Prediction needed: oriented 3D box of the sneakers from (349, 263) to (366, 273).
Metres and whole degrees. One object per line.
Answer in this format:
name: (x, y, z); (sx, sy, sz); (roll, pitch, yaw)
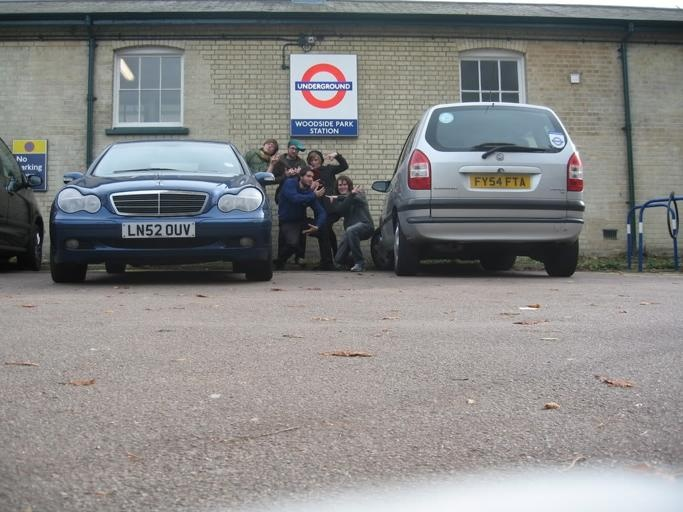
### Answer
sneakers: (0.213, 0.158, 10.105); (0.083, 0.077, 0.208); (-3, -7, 29)

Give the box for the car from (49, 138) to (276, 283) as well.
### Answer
car: (-1.661, -0.548, 7.427); (1.351, 0.833, 2.068); (-1, -2, -6)

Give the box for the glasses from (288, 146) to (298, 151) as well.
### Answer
glasses: (-0.711, -1.562, 11.740); (0.074, 0.072, 0.090); (3, -6, -16)

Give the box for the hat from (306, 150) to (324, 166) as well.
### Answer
hat: (-0.386, -1.412, 11.805); (0.254, 0.321, 0.246); (0, -18, 0)

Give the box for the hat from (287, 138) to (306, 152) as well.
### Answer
hat: (-0.727, -1.676, 12.009); (0.332, 0.159, 0.213); (10, -1, 39)

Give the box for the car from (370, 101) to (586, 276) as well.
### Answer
car: (1.471, -0.695, 8.415); (1.529, 1.070, 2.338); (1, 8, 1)

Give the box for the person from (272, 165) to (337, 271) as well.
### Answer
person: (-0.488, -0.464, 10.294); (0.719, 1.285, 1.552); (0, 8, -5)
